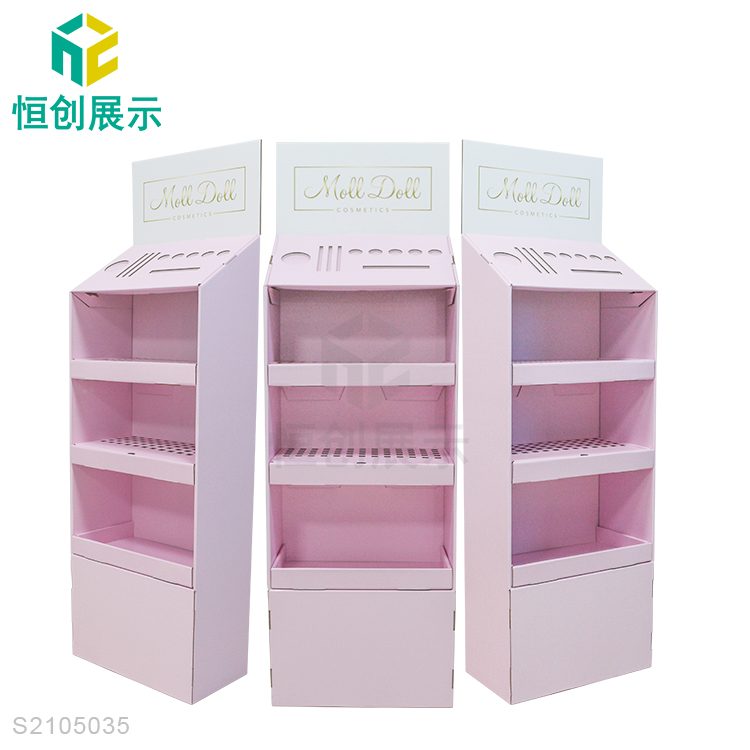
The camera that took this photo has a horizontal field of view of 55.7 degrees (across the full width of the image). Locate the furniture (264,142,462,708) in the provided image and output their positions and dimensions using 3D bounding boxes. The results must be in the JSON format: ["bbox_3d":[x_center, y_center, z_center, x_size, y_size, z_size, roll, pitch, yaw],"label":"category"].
[{"bbox_3d":[-0.044,0.195,3.120,0.818,2.325,0.827,0,-23,-1],"label":"furniture"}]
